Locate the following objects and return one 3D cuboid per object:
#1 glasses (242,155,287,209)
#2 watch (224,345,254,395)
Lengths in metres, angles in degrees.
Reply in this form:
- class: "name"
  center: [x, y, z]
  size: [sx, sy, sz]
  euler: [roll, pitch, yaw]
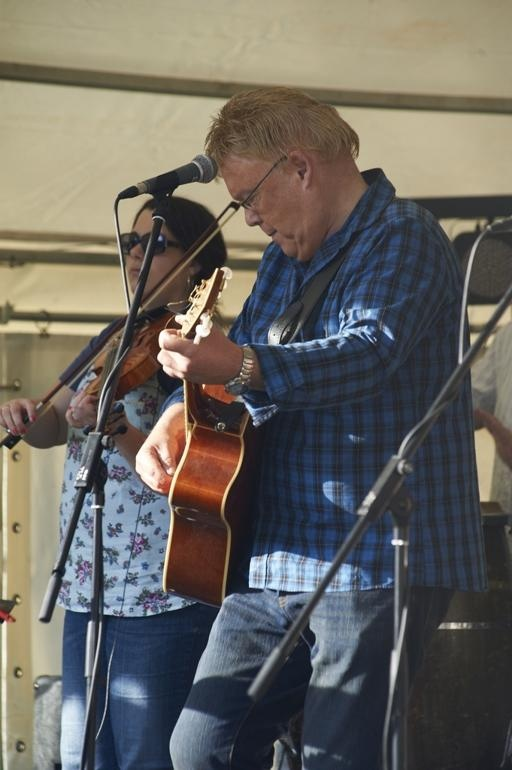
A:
- class: "glasses"
  center: [0.019, -0.428, 2.304]
  size: [0.031, 0.099, 0.100]
  euler: [43, -5, -9]
- class: "watch"
  center: [-0.032, -0.029, 1.984]
  size: [0.046, 0.064, 0.076]
  euler: [26, -12, 21]
